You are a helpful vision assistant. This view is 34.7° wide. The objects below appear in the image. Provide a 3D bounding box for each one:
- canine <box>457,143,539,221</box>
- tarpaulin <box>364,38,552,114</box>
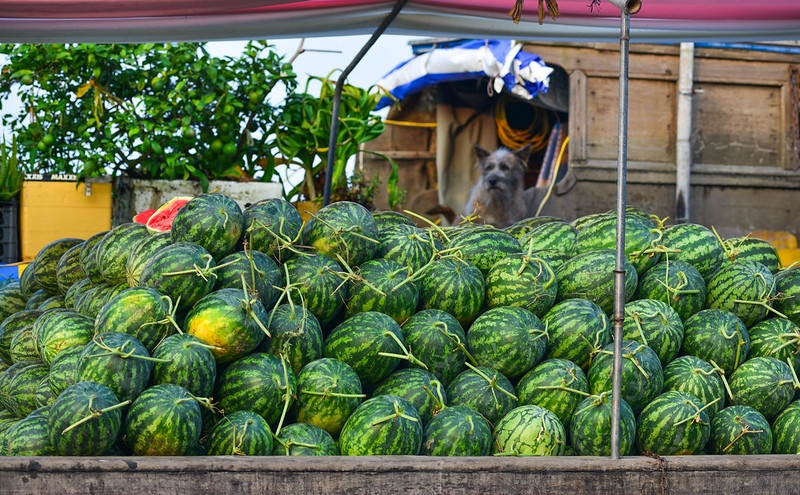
[{"bbox_3d":[1.675,-0.731,20.134,0.871,1.559,1.912,4,-3,9],"label":"canine"},{"bbox_3d":[0.804,-2.637,19.626,3.233,1.026,0.854,-5,19,31],"label":"tarpaulin"}]
